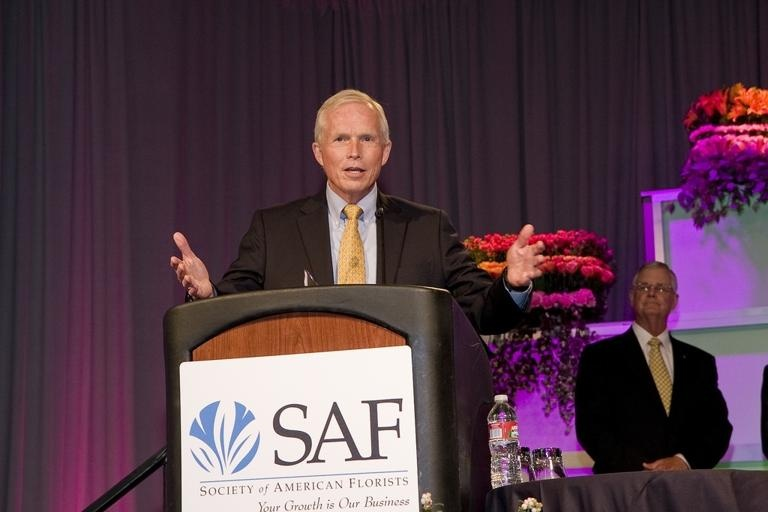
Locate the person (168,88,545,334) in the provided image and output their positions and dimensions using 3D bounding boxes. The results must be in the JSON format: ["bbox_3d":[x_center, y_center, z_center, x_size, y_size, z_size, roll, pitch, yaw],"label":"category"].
[{"bbox_3d":[-0.194,-0.245,4.692,1.501,2.180,0.796,-1,-56,0],"label":"person"}]

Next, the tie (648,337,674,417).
[{"bbox_3d":[1.517,0.643,5.065,0.114,0.389,0.018,-6,-11,6],"label":"tie"}]

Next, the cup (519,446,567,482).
[{"bbox_3d":[0.698,0.918,4.087,0.161,0.125,0.166,-5,-8,-1],"label":"cup"}]

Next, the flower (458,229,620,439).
[{"bbox_3d":[0.851,0.511,5.546,1.126,1.455,0.995,1,-5,-5],"label":"flower"}]

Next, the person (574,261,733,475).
[{"bbox_3d":[1.419,0.600,5.054,0.801,1.129,0.245,-6,-15,7],"label":"person"}]
